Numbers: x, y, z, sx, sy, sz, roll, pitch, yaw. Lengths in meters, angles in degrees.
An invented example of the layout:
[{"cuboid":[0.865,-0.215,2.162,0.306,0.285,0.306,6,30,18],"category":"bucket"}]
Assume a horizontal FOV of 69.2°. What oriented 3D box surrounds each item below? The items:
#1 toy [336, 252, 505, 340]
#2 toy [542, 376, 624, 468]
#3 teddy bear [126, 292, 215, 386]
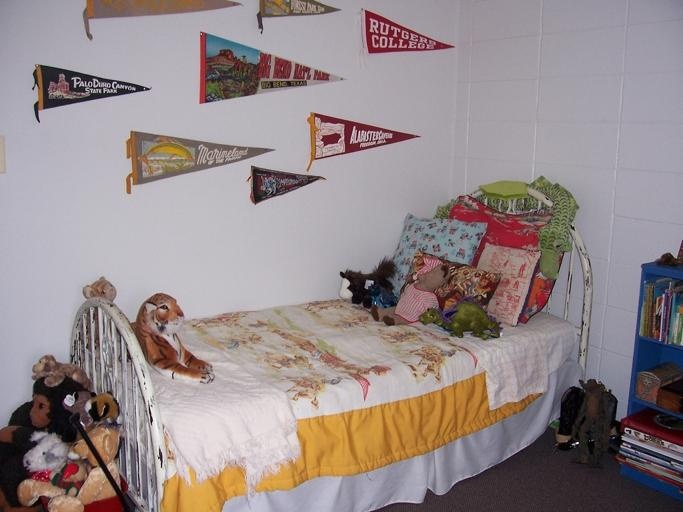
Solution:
[{"cuboid":[0.460,0.213,3.126,0.892,0.429,0.446,8,10,36],"category":"toy"},{"cuboid":[1.459,0.993,2.960,0.344,0.509,0.183,1,-4,43],"category":"toy"},{"cuboid":[-0.840,0.341,2.495,0.620,0.378,0.217,20,27,27],"category":"teddy bear"}]
